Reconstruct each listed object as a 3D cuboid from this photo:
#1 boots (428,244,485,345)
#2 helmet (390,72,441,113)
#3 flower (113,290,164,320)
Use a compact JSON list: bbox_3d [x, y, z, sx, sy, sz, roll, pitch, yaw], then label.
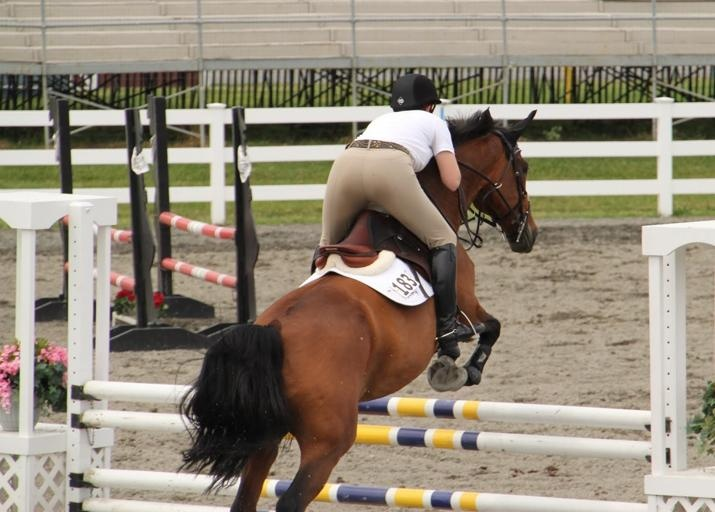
[{"bbox_3d":[1.126,0.497,24.571,0.573,1.247,0.406,-5,-1,-41],"label":"boots"},{"bbox_3d":[0.734,-2.013,24.779,0.448,0.479,0.575,8,21,9],"label":"helmet"},{"bbox_3d":[-3.113,0.647,28.105,0.425,0.338,0.459,2,0,2],"label":"flower"}]
